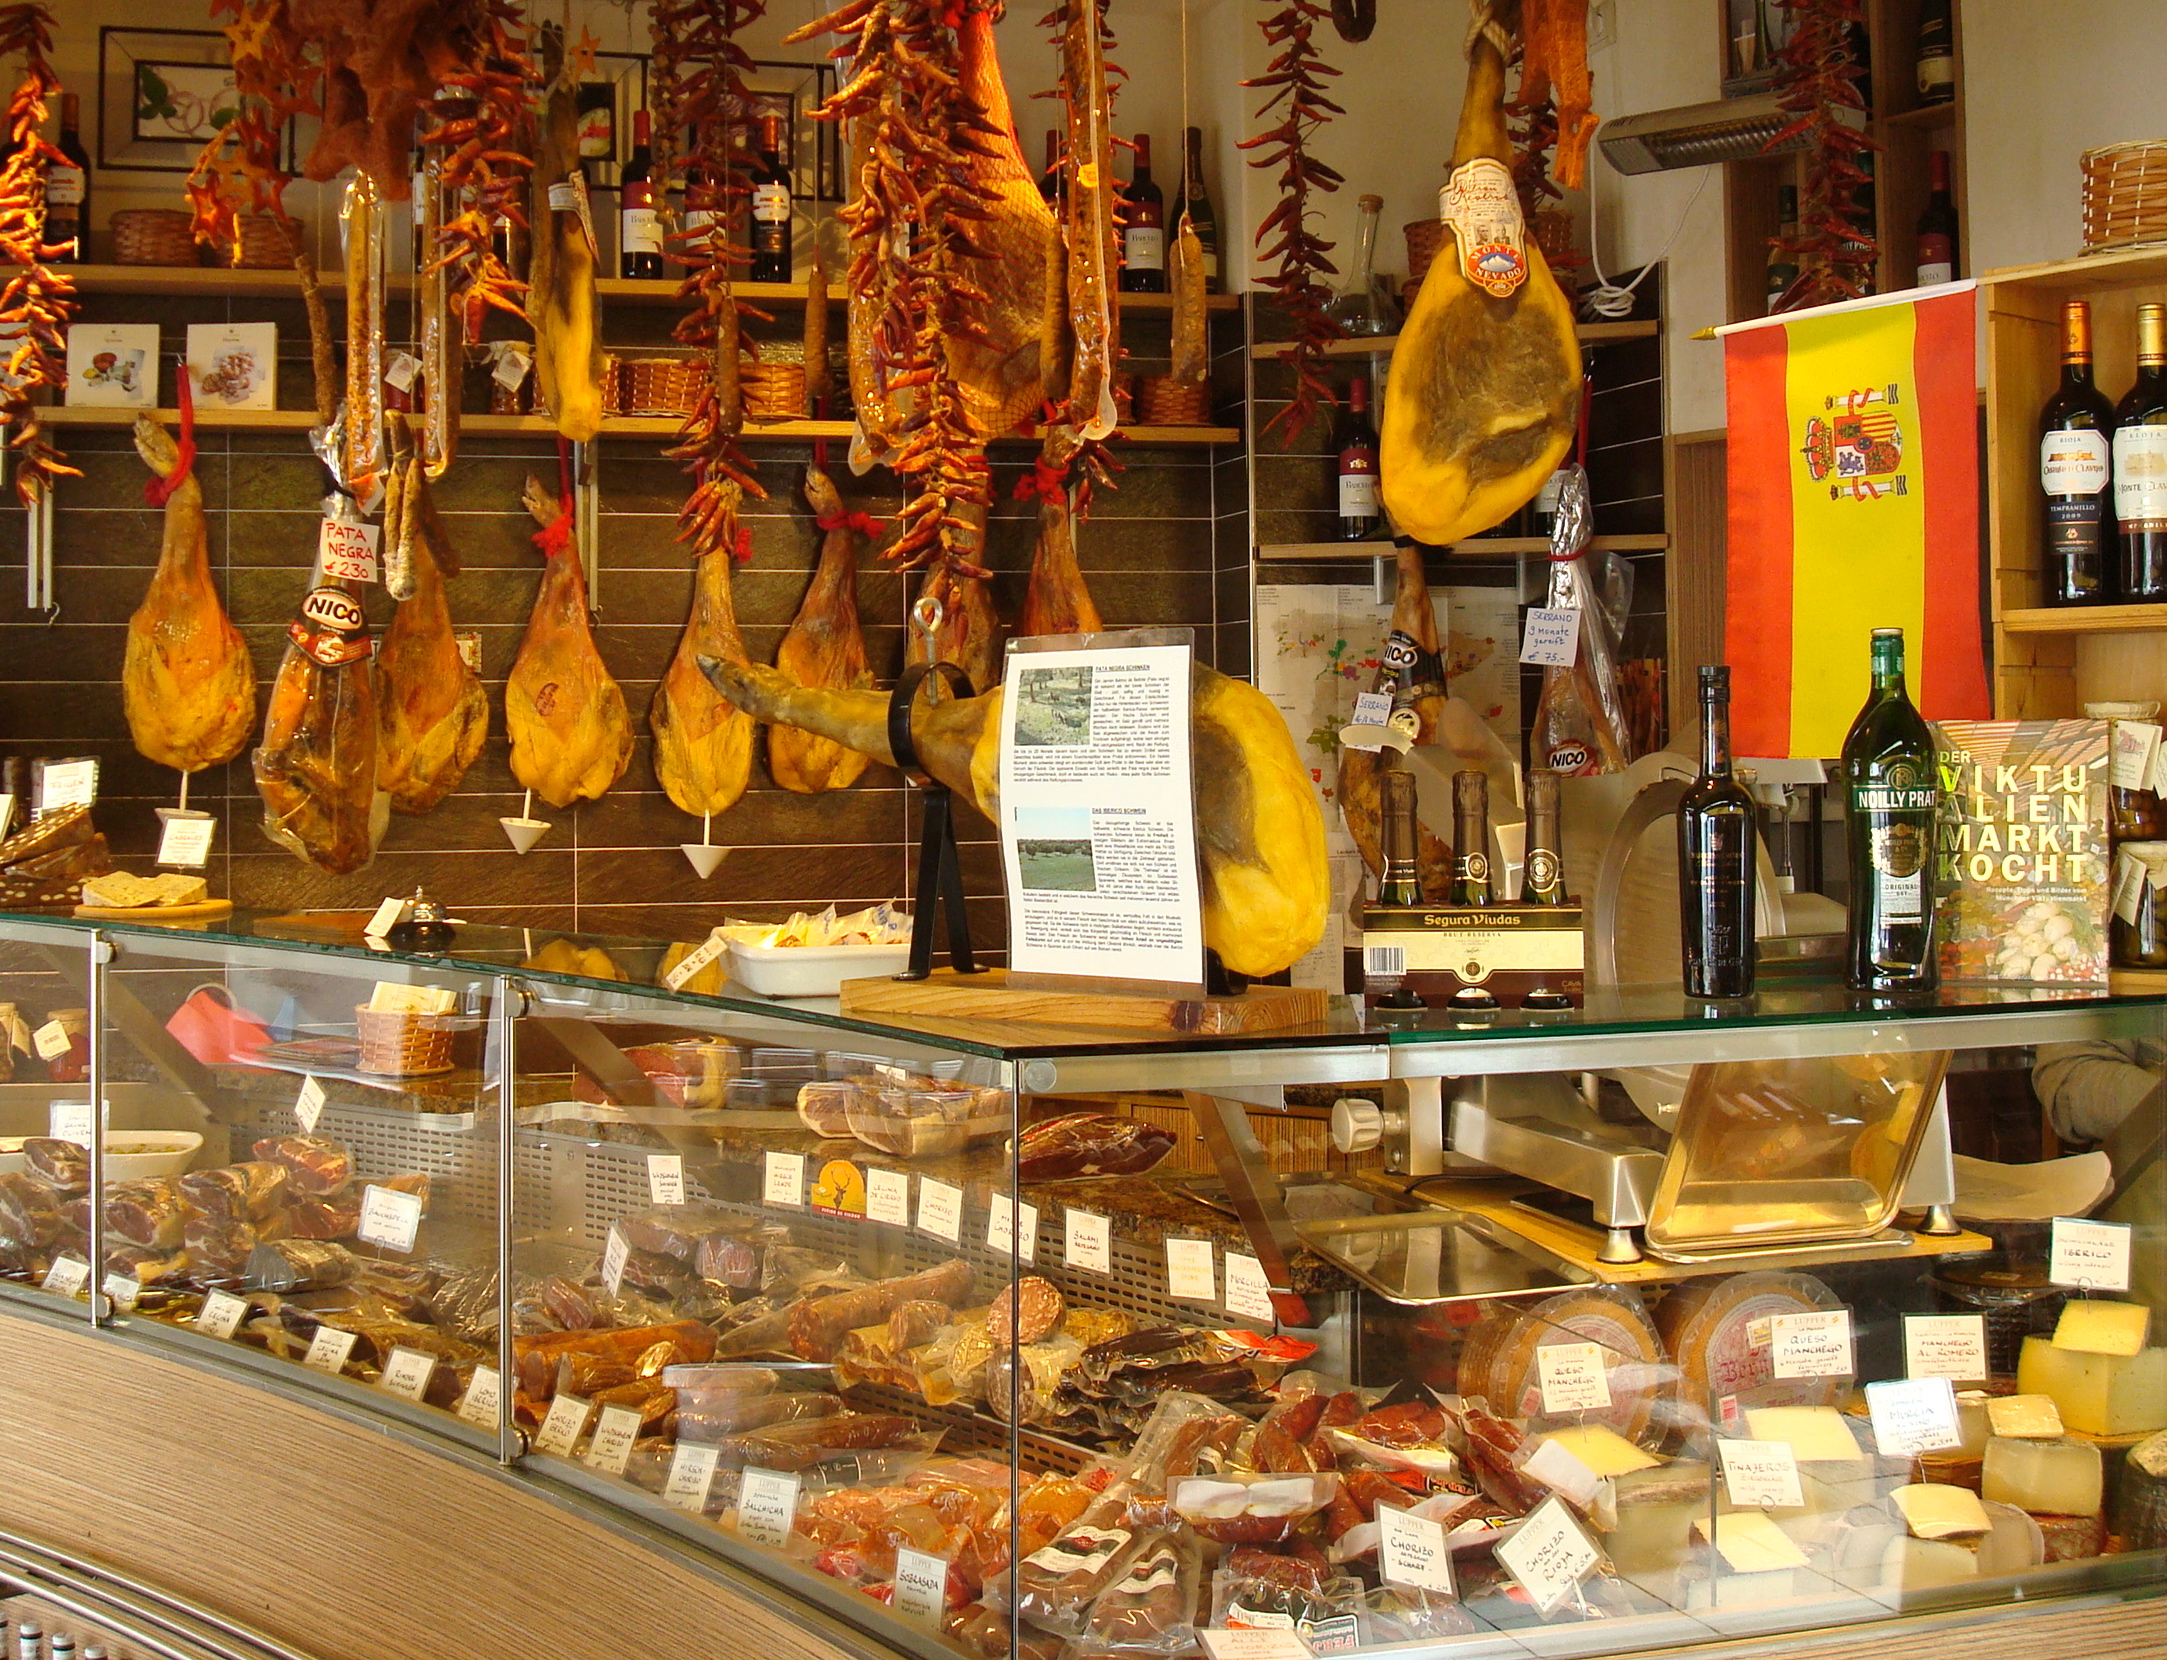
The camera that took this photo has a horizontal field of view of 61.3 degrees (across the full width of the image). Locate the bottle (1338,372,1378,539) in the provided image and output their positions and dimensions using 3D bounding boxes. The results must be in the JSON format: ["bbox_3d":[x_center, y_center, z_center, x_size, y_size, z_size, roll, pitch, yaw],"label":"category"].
[{"bbox_3d":[0.723,-0.998,4.842,0.121,0.437,0.168,1,-6,7],"label":"bottle"}]

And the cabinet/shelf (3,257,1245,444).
[{"bbox_3d":[-1.107,-1.222,4.655,2.802,0.524,0.370,3,-5,-11],"label":"cabinet/shelf"}]

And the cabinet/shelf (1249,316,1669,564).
[{"bbox_3d":[0.990,-1.069,4.892,1.130,0.723,0.392,3,-6,-17],"label":"cabinet/shelf"}]

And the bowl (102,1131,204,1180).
[{"bbox_3d":[-1.264,0.439,2.480,0.114,0.036,0.076,3,-3,-36],"label":"bowl"}]

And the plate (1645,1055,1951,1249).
[{"bbox_3d":[0.709,0.320,1.824,0.300,0.201,0.067,3,-6,-17],"label":"plate"}]

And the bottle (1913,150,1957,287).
[{"bbox_3d":[1.954,-1.412,4.185,0.085,0.331,0.299,0,-6,25],"label":"bottle"}]
